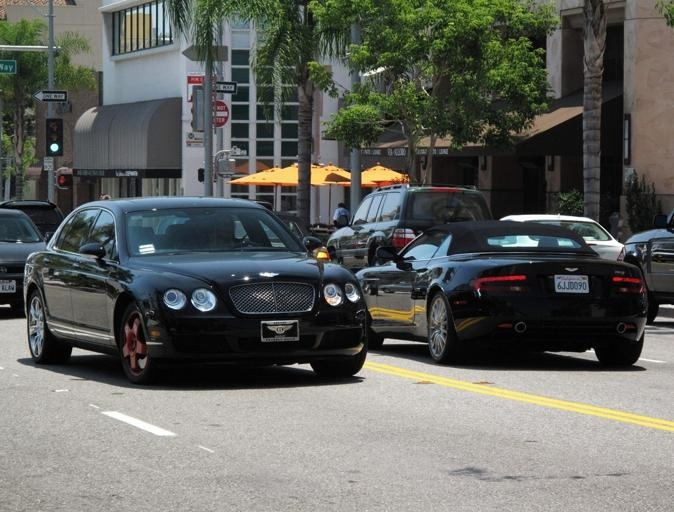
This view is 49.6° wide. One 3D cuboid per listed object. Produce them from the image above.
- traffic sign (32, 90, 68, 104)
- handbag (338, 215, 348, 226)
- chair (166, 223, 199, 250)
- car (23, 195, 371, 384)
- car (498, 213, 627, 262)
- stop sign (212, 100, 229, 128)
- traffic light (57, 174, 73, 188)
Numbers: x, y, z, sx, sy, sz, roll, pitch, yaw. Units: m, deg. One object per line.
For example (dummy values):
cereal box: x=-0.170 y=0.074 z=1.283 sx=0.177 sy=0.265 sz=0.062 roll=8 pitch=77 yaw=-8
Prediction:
traffic sign: x=-13.998 y=-7.944 z=35.799 sx=1.241 sy=0.681 sz=1.583 roll=-3 pitch=4 yaw=-33
handbag: x=0.189 y=-0.924 z=19.338 sx=0.207 sy=0.283 sz=0.303 roll=3 pitch=-37 yaw=-1
chair: x=-1.786 y=-0.240 z=8.473 sx=0.334 sy=0.338 sz=0.260 roll=0 pitch=0 yaw=15
car: x=-1.794 y=0.342 z=8.616 sx=4.157 sy=2.134 sz=2.030 roll=2 pitch=4 yaw=39
car: x=5.348 y=-0.549 z=16.991 sx=1.391 sy=1.096 sz=3.267 roll=0 pitch=3 yaw=-7
stop sign: x=-4.395 y=-5.459 z=27.765 sx=0.538 sy=0.972 sz=0.451 roll=-1 pitch=3 yaw=-11
traffic light: x=-13.375 y=-3.736 z=36.076 sx=0.662 sy=0.328 sz=0.916 roll=0 pitch=-1 yaw=1
